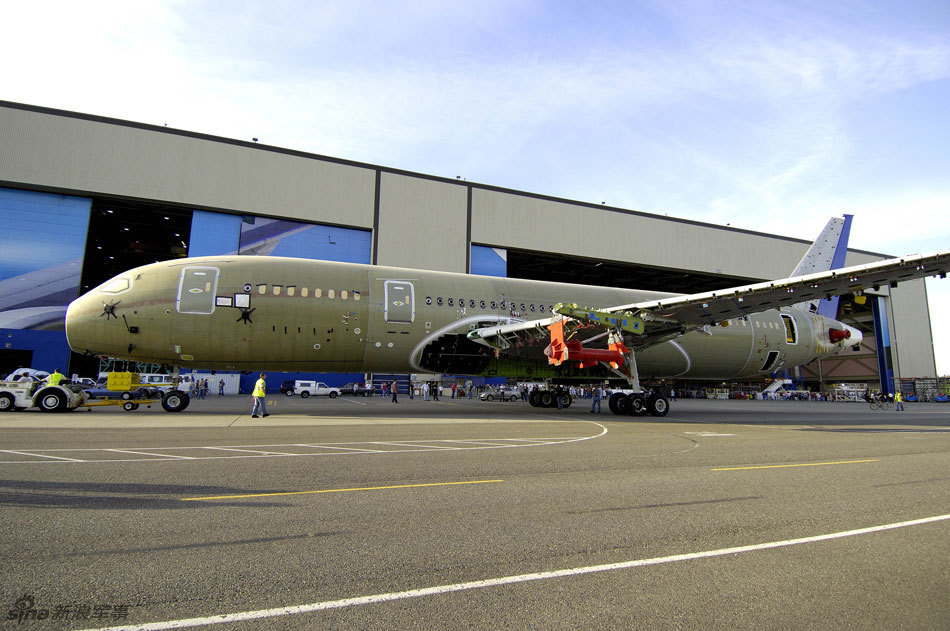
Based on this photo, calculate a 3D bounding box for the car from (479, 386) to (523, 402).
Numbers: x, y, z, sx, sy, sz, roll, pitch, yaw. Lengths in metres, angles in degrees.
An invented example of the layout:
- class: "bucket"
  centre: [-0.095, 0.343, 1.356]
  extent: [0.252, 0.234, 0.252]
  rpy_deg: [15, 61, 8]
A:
- class: "car"
  centre: [1.902, 6.171, 48.218]
  extent: [2.912, 1.016, 1.312]
  rpy_deg: [2, -10, -3]

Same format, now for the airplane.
- class: "airplane"
  centre: [2.672, -0.402, 28.932]
  extent: [34.354, 8.786, 17.814]
  rpy_deg: [1, 1, 10]
